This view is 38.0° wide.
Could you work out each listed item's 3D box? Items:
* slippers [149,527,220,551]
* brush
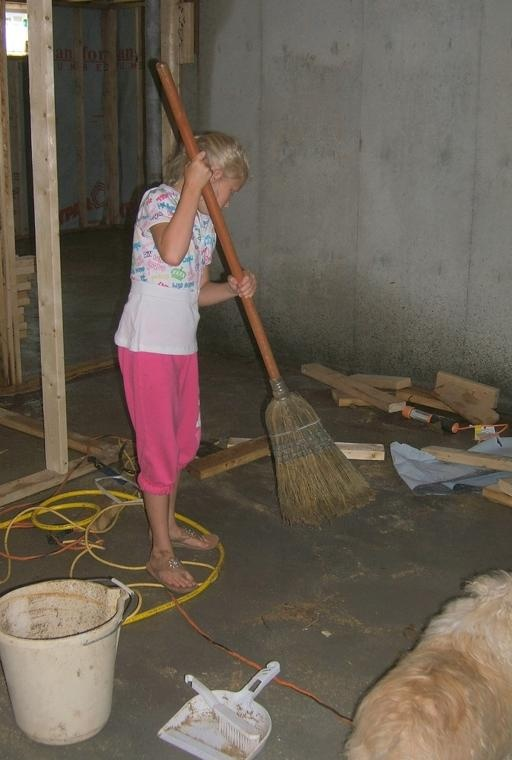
[{"bbox_3d":[-0.282,0.604,2.838,0.261,0.080,0.097,0,28,15],"label":"slippers"},{"bbox_3d":[-0.099,0.835,1.917,0.294,0.118,0.083,13,18,43],"label":"brush"}]
